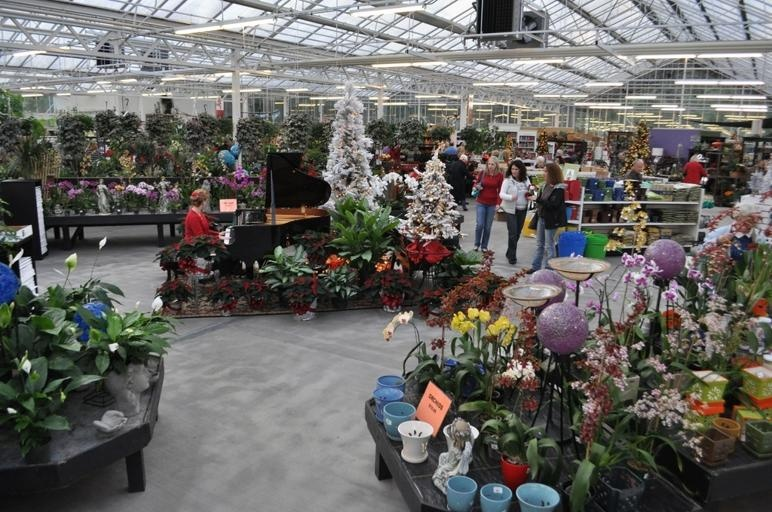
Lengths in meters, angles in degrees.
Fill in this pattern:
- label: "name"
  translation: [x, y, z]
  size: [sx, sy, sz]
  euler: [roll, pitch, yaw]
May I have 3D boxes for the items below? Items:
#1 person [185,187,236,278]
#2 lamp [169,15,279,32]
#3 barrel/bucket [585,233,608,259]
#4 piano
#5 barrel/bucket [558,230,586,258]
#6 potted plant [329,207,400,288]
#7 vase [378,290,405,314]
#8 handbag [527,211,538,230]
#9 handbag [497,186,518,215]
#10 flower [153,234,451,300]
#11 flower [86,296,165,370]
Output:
- label: "person"
  translation: [-2.644, -0.334, 6.800]
  size: [0.526, 1.112, 0.566]
  euler: [19, 23, 32]
- label: "lamp"
  translation: [-4.633, -6.525, 13.229]
  size: [2.642, 0.166, 0.372]
  euler: [-4, 12, 11]
- label: "barrel/bucket"
  translation: [3.651, -0.167, 8.234]
  size: [0.531, 0.482, 0.542]
  euler: [1, -1, 0]
- label: "piano"
  translation: [-1.555, -0.777, 7.342]
  size: [2.010, 1.997, 1.575]
  euler: [1, 14, -8]
- label: "barrel/bucket"
  translation: [3.061, -0.186, 7.802]
  size: [0.430, 0.367, 0.420]
  euler: [0, 13, 0]
- label: "potted plant"
  translation: [-0.267, -0.189, 6.679]
  size: [0.975, 1.030, 1.008]
  euler: [-4, 18, -20]
- label: "vase"
  translation: [0.099, 0.614, 6.292]
  size: [0.330, 0.228, 0.303]
  euler: [1, 5, -2]
- label: "handbag"
  translation: [2.415, -0.567, 7.672]
  size: [0.114, 0.269, 0.469]
  euler: [4, 9, 17]
- label: "handbag"
  translation: [2.027, -0.976, 7.963]
  size: [0.328, 0.531, 0.201]
  euler: [10, 13, 44]
- label: "flower"
  translation: [-0.796, 0.251, 6.284]
  size: [2.703, 0.447, 1.522]
  euler: [1, -1, -5]
- label: "flower"
  translation: [-1.934, 0.598, 3.597]
  size: [0.559, 0.301, 0.522]
  euler: [5, 5, 13]
